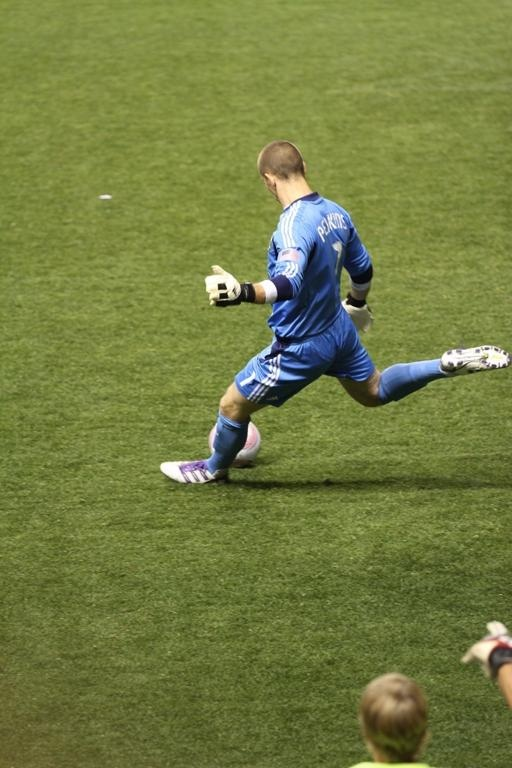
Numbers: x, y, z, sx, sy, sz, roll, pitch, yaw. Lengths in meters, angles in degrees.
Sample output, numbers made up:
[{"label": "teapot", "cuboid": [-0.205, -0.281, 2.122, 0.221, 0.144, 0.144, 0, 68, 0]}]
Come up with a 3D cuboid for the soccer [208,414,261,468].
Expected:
[{"label": "soccer", "cuboid": [-0.099, 0.245, 5.252, 0.234, 0.221, 0.214, -4, 16, -21]}]

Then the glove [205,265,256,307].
[{"label": "glove", "cuboid": [-0.094, -0.355, 4.286, 0.164, 0.164, 0.178, -6, 34, -1]}]
